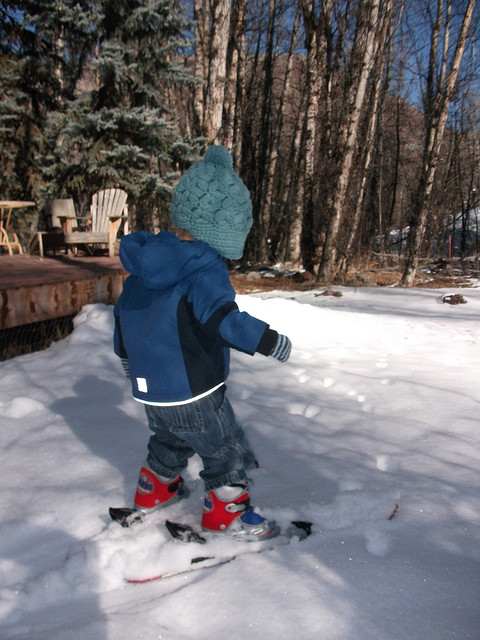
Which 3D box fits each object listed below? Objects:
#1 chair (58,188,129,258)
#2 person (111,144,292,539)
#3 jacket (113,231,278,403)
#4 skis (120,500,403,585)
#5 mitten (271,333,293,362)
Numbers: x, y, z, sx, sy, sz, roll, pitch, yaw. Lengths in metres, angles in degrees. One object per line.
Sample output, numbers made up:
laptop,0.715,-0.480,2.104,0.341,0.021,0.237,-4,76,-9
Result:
chair,-2.388,-1.633,8.466,0.963,1.077,1.168,5,15,8
person,-0.156,0.119,1.955,0.512,1.450,0.724,-8,16,-31
jacket,-0.195,-0.007,1.852,0.699,0.608,0.311,11,17,38
skis,0.066,0.829,1.874,1.107,0.060,0.115,-6,6,-12
mitten,0.140,0.086,1.758,0.067,0.057,0.086,36,29,-19
